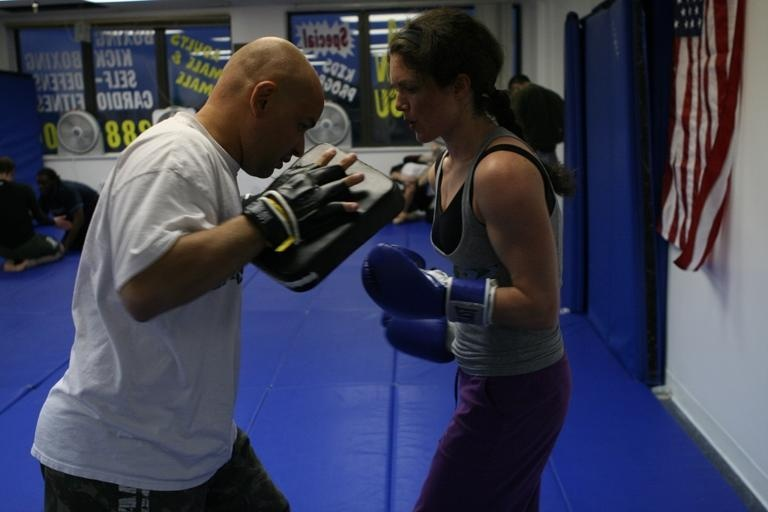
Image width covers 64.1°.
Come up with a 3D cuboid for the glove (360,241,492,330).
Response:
[{"bbox_3d":[0.164,0.054,2.347,0.379,0.225,0.319,9,18,9],"label":"glove"}]

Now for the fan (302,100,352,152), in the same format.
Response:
[{"bbox_3d":[-0.823,-1.743,8.982,0.688,0.599,0.875,-5,62,-1],"label":"fan"}]

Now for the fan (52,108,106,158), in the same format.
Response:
[{"bbox_3d":[-4.601,-1.882,9.246,0.581,0.753,0.217,-5,33,-24],"label":"fan"}]
